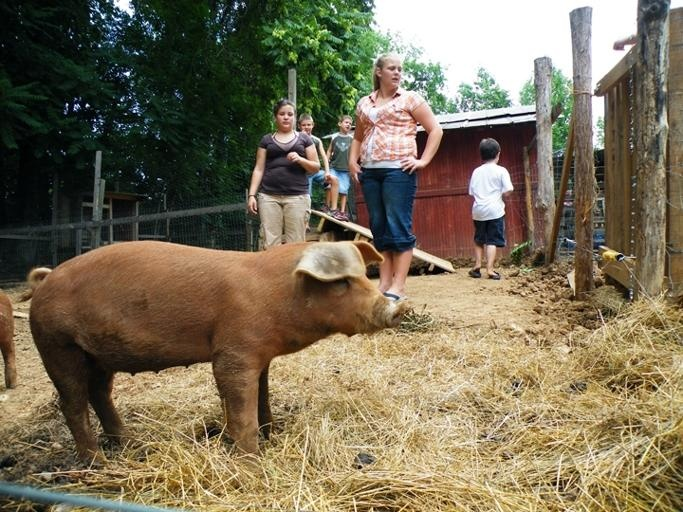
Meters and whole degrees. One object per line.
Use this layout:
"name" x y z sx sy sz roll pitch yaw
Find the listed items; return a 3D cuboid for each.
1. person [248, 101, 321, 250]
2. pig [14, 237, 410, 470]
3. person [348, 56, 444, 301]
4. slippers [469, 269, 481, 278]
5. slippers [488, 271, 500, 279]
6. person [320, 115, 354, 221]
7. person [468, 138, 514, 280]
"person" -0.542 -0.586 5.620 0.580 1.786 0.556 1 11 -1
"pig" -0.713 0.497 3.340 1.940 1.126 0.674 -2 6 -2
"person" 0.406 -0.701 4.968 0.821 2.111 0.493 -3 -8 35
"slippers" 1.755 0.208 7.739 0.145 0.104 0.240 -3 8 11
"slippers" 1.951 0.249 7.521 0.079 0.093 0.225 -1 -2 11
"person" -0.019 -1.448 9.881 0.510 1.629 0.781 0 1 1
"person" 1.986 -0.618 7.873 0.612 1.754 0.893 0 0 28
